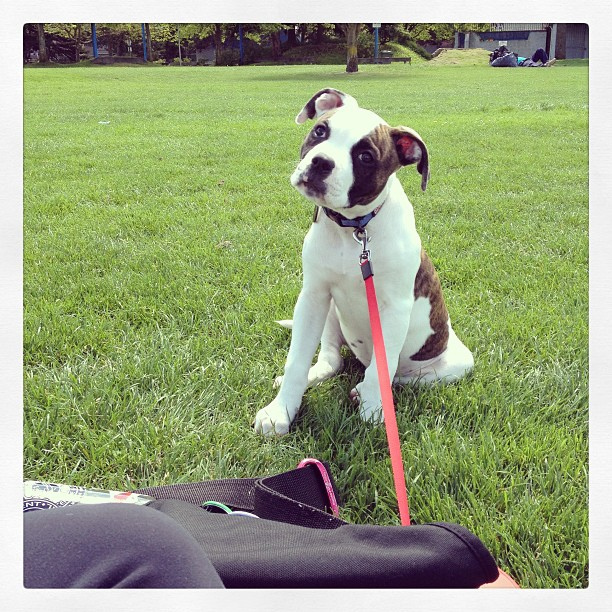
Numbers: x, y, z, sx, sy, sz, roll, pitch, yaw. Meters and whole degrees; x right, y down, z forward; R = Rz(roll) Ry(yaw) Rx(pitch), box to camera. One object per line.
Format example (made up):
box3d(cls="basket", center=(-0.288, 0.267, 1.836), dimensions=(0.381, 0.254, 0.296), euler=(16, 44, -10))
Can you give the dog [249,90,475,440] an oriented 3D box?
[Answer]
box3d(cls="dog", center=(0.194, -0.232, 2.561), dimensions=(0.894, 1.238, 1.088), euler=(10, 27, 25))
